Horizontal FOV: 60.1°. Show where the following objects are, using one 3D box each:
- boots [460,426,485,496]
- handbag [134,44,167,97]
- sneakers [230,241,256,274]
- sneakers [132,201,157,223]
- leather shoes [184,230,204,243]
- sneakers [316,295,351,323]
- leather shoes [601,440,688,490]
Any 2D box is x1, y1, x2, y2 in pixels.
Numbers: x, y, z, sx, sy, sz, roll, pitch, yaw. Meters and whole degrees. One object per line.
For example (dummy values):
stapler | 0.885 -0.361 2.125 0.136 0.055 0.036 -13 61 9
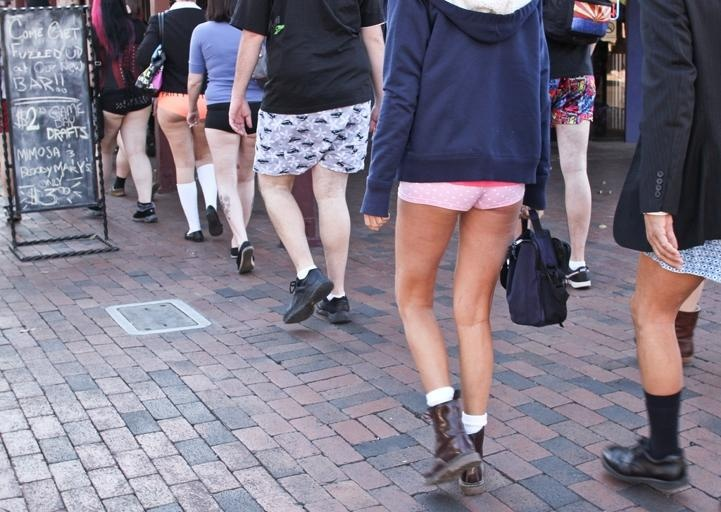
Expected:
boots | 0.563 1.002 3.100 0.172 0.285 0.355 0 -7 11
handbag | -2.299 -2.058 6.966 0.317 0.552 0.376 -4 21 -8
sneakers | -1.076 0.054 6.015 0.181 0.429 0.167 -20 66 -27
sneakers | -2.705 -0.528 7.937 0.179 0.163 0.447 -6 17 -25
leather shoes | -1.878 -0.222 7.177 0.118 0.082 0.247 -9 18 -42
sneakers | -0.211 0.430 4.967 0.155 0.119 0.320 -5 14 -23
leather shoes | 1.327 0.970 3.052 0.429 0.165 0.190 12 18 34
